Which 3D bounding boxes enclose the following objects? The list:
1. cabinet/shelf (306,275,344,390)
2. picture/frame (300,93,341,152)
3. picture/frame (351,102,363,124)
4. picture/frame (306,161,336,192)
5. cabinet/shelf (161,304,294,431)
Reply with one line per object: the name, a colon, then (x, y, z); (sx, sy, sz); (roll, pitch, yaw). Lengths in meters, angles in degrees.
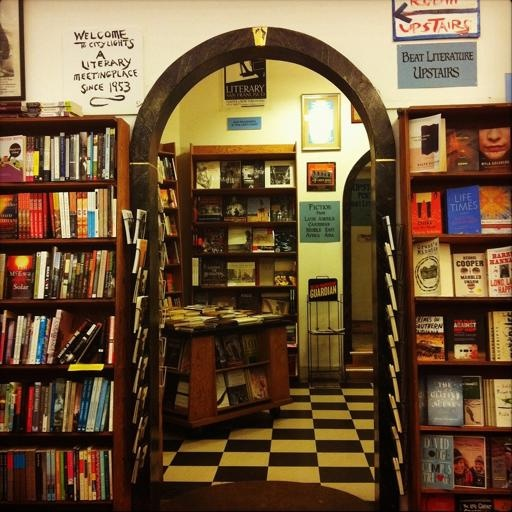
cabinet/shelf: (0.780, 0.836, 6.489); (0.433, 1.185, 0.454); (-1, 1, 9)
picture/frame: (0.766, -1.547, 6.603); (0.578, 0.895, 0.036); (0, 0, 7)
picture/frame: (1.138, -1.622, 6.466); (0.120, 0.212, 0.362); (-1, 2, 10)
picture/frame: (0.764, -0.916, 6.608); (0.300, 0.331, 0.108); (0, 1, 4)
cabinet/shelf: (-0.312, 0.921, 4.986); (0.973, 0.827, 0.979); (1, -2, -37)
